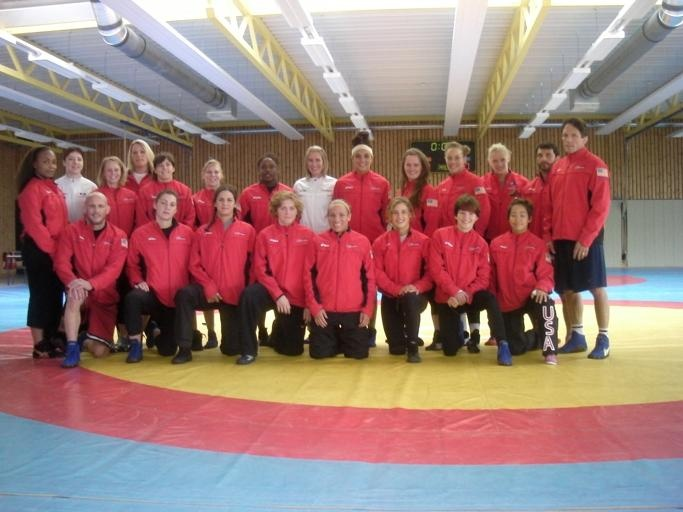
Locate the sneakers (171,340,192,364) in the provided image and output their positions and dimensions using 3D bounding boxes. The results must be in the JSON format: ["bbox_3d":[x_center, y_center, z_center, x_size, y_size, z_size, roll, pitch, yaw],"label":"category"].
[{"bbox_3d":[-1.474,0.888,4.929,0.138,0.161,0.244,1,8,11],"label":"sneakers"}]

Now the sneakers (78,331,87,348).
[{"bbox_3d":[-2.470,0.789,5.087,0.065,0.199,0.082,5,-7,-26],"label":"sneakers"}]

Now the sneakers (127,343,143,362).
[{"bbox_3d":[-1.950,0.873,5.031,0.135,0.190,0.283,-3,8,-17],"label":"sneakers"}]

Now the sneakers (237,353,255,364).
[{"bbox_3d":[-0.870,0.941,4.907,0.069,0.070,0.165,-3,-15,23],"label":"sneakers"}]

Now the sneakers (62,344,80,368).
[{"bbox_3d":[-2.451,0.879,4.824,0.142,0.217,0.264,-3,8,-20],"label":"sneakers"}]

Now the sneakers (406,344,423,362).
[{"bbox_3d":[0.659,0.868,4.847,0.121,0.157,0.115,0,7,6],"label":"sneakers"}]

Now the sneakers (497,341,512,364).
[{"bbox_3d":[1.439,0.846,4.714,0.115,0.189,0.180,0,7,5],"label":"sneakers"}]

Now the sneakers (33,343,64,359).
[{"bbox_3d":[-2.802,0.892,5.109,0.266,0.118,0.140,-1,-1,9],"label":"sneakers"}]

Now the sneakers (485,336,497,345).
[{"bbox_3d":[1.571,0.889,5.630,0.079,0.090,0.208,-5,-10,19],"label":"sneakers"}]

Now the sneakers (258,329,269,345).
[{"bbox_3d":[-0.832,0.858,5.705,0.111,0.166,0.169,0,-16,-1],"label":"sneakers"}]

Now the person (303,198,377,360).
[{"bbox_3d":[-0.017,0.348,5.094,0.656,1.206,0.380,0,7,3],"label":"person"}]

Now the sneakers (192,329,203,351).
[{"bbox_3d":[-1.455,0.874,5.548,0.088,0.241,0.161,-3,-1,10],"label":"sneakers"}]

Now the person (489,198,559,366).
[{"bbox_3d":[1.764,0.196,4.984,0.437,1.458,0.831,-4,8,-22],"label":"person"}]

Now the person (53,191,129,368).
[{"bbox_3d":[-2.408,0.182,5.097,0.642,1.588,0.729,6,10,40],"label":"person"}]

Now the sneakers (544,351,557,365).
[{"bbox_3d":[1.848,0.886,4.711,0.112,0.102,0.212,2,8,22],"label":"sneakers"}]
